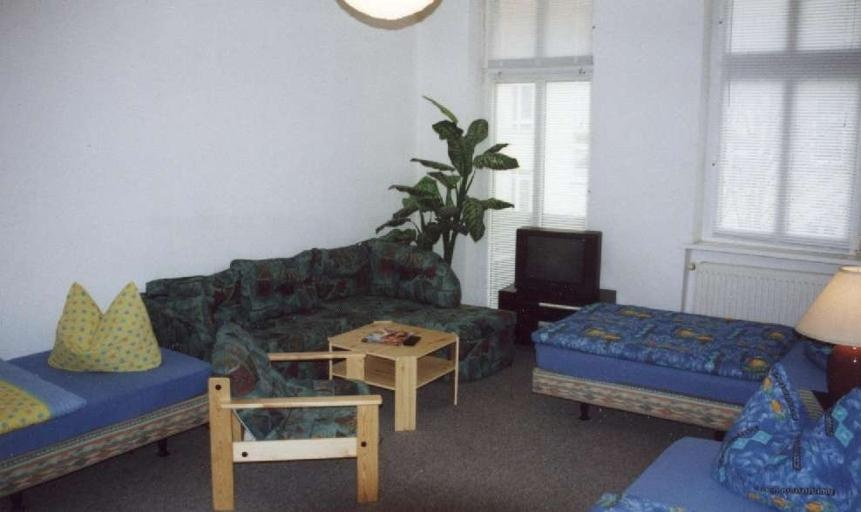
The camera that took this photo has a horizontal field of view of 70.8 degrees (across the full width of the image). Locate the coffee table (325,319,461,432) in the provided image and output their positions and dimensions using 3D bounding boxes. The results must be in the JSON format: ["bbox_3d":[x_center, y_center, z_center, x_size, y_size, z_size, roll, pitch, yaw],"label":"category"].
[{"bbox_3d":[-0.278,0.963,5.477,0.978,0.590,0.991,7,9,45],"label":"coffee table"}]

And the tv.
[{"bbox_3d":[1.473,0.074,6.845,0.938,0.736,0.435,5,9,30],"label":"tv"}]

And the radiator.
[{"bbox_3d":[3.357,0.388,6.235,1.217,0.503,0.031,7,0,-15],"label":"radiator"}]

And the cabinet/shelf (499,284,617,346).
[{"bbox_3d":[1.622,0.712,6.776,1.288,0.727,0.675,1,-8,37],"label":"cabinet/shelf"}]

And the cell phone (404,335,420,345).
[{"bbox_3d":[-0.163,0.751,5.393,0.053,0.006,0.155,7,18,10],"label":"cell phone"}]

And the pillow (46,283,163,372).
[{"bbox_3d":[-2.588,0.561,4.848,0.937,0.591,0.563,4,16,9],"label":"pillow"}]

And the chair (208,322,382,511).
[{"bbox_3d":[-0.961,1.001,4.750,1.371,1.134,1.411,-2,10,-12],"label":"chair"}]
